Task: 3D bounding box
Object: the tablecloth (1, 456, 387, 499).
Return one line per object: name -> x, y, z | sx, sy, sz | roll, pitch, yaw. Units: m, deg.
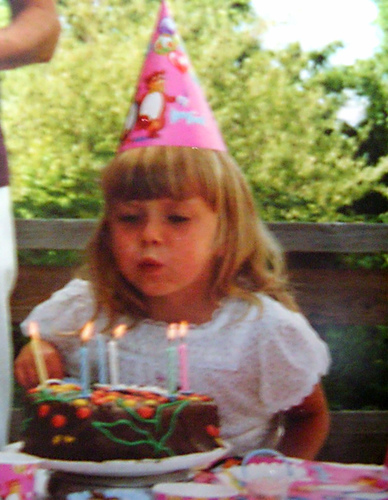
tablecloth -> -0.041, 0.694, 1.768 | 0.390, 0.150, 0.384 | 6, -8, -32
